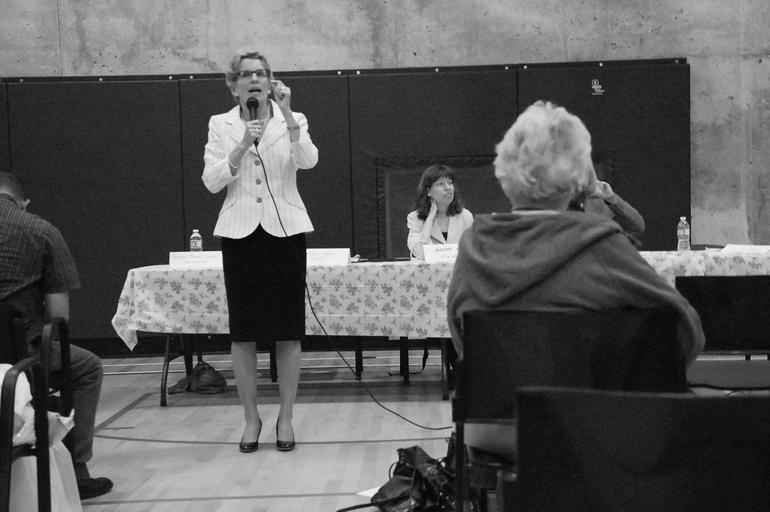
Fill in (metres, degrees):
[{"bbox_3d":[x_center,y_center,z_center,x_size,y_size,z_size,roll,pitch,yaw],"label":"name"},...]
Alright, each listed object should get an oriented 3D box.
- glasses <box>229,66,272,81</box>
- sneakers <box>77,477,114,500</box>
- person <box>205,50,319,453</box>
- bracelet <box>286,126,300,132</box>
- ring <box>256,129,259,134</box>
[{"bbox_3d":[-0.944,-1.273,6.311,0.280,0.076,0.098,-5,12,-13],"label":"glasses"},{"bbox_3d":[-1.938,1.556,6.030,0.222,0.113,0.103,-2,3,-11],"label":"sneakers"},{"bbox_3d":[-0.887,-0.031,6.448,0.738,2.806,0.555,-3,11,-7],"label":"person"},{"bbox_3d":[-0.644,-0.901,6.359,0.087,0.041,0.041,-5,12,-14],"label":"bracelet"},{"bbox_3d":[-0.877,-0.862,6.217,0.020,0.016,0.021,-1,-2,0],"label":"ring"}]
